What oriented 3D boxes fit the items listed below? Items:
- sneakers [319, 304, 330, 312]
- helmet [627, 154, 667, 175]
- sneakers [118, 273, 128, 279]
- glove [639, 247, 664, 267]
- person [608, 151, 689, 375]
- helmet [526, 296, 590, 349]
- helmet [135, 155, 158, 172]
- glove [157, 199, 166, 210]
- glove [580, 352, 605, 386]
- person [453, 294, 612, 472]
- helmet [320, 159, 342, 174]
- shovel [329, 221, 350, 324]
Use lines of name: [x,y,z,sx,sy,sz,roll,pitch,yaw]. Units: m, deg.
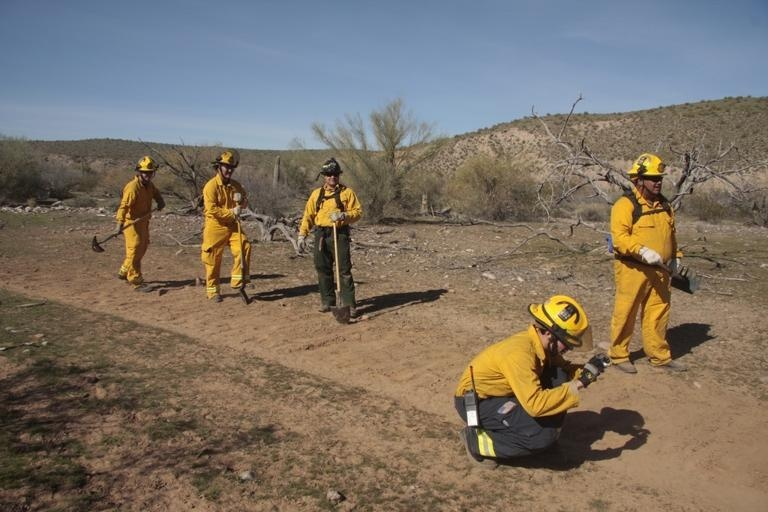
sneakers: [-1.016,0.896,8.393,0.102,0.081,0.206,1,-9,17]
helmet: [3.382,-1.149,6.386,0.349,0.268,0.424,-2,10,-20]
sneakers: [-4.807,0.385,9.085,0.134,0.047,0.162,7,-8,-23]
glove: [3.310,0.016,6.113,0.269,0.233,0.186,-5,13,-17]
person: [3.453,0.113,6.559,0.931,2.884,1.074,7,15,29]
helmet: [1.742,0.604,4.915,0.621,0.381,0.443,38,31,-2]
helmet: [-4.399,-1.673,9.139,0.491,0.331,0.658,0,1,-25]
glove: [-4.419,-1.018,9.808,0.244,0.091,0.306,8,17,-20]
glove: [2.112,1.129,4.977,0.233,0.099,0.377,49,30,10]
person: [1.458,1.279,4.986,1.347,1.757,0.584,-3,14,-8]
helmet: [-0.899,-1.512,8.295,0.368,0.293,0.450,0,1,-12]
shovel: [-0.727,0.285,8.062,0.291,1.578,0.574,-2,13,-4]
